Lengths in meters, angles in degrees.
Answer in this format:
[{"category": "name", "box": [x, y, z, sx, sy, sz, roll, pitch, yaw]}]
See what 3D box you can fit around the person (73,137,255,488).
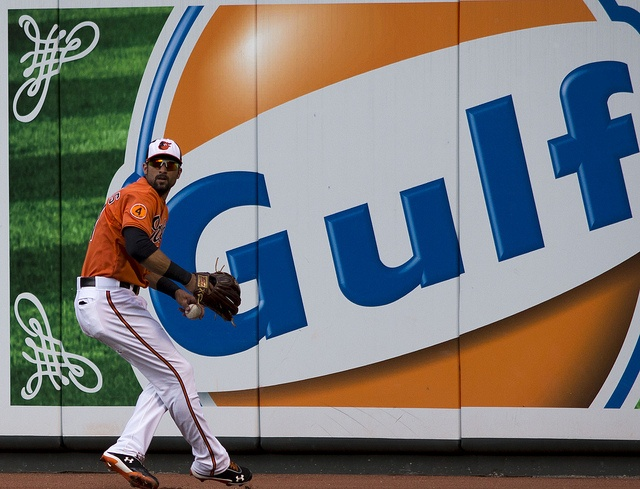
[{"category": "person", "box": [-1.066, 0.486, 8.925, 1.041, 2.214, 0.596, -2, -14, -12]}]
